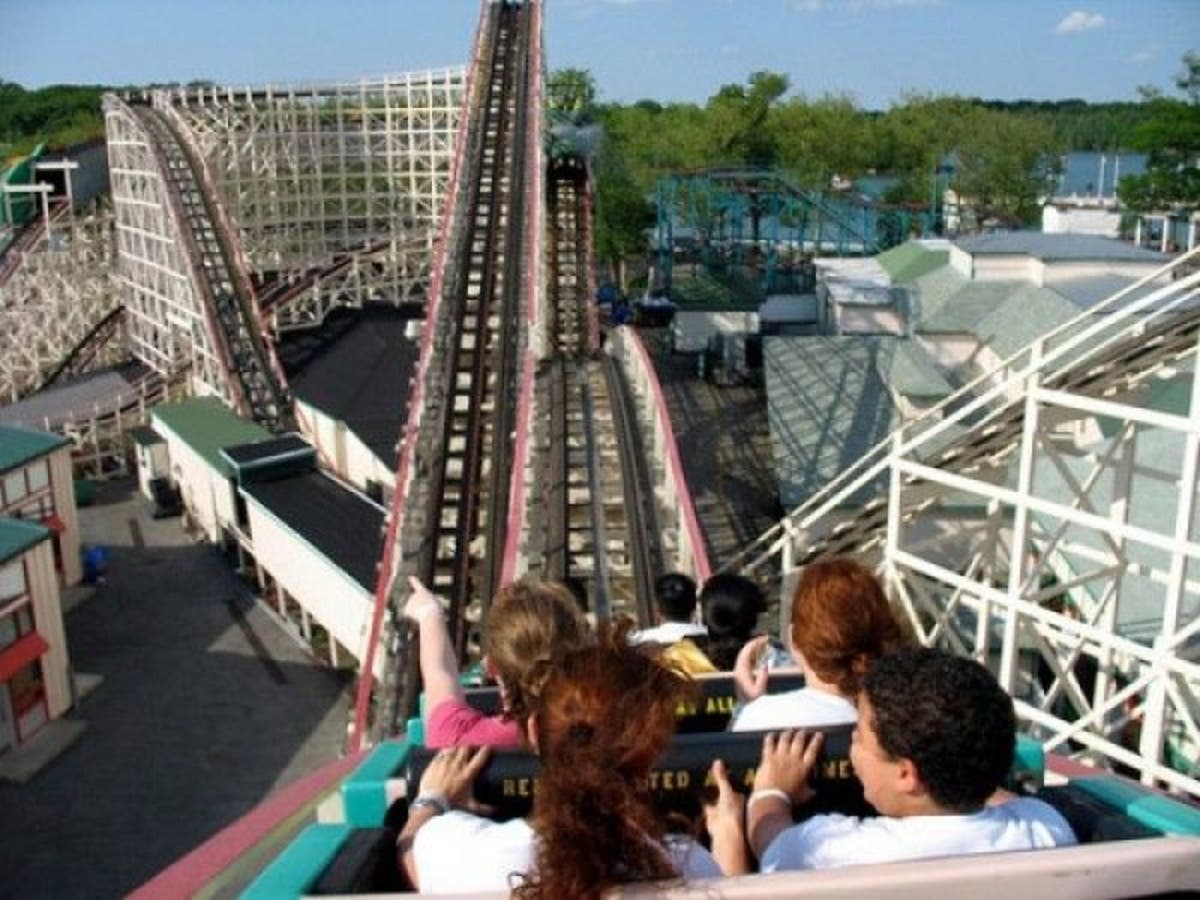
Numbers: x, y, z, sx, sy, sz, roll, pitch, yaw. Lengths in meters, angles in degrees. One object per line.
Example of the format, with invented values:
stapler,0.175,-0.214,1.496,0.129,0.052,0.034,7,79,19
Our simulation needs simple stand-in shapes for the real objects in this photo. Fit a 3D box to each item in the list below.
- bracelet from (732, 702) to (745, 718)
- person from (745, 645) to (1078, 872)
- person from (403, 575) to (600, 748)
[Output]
bracelet,0.513,0.967,3.831,0.038,0.045,0.048,-1,3,-36
person,1.018,1.028,3.402,1.074,0.687,0.923,5,-2,-31
person,-0.369,0.761,3.724,0.510,0.684,1.161,2,-17,-14
